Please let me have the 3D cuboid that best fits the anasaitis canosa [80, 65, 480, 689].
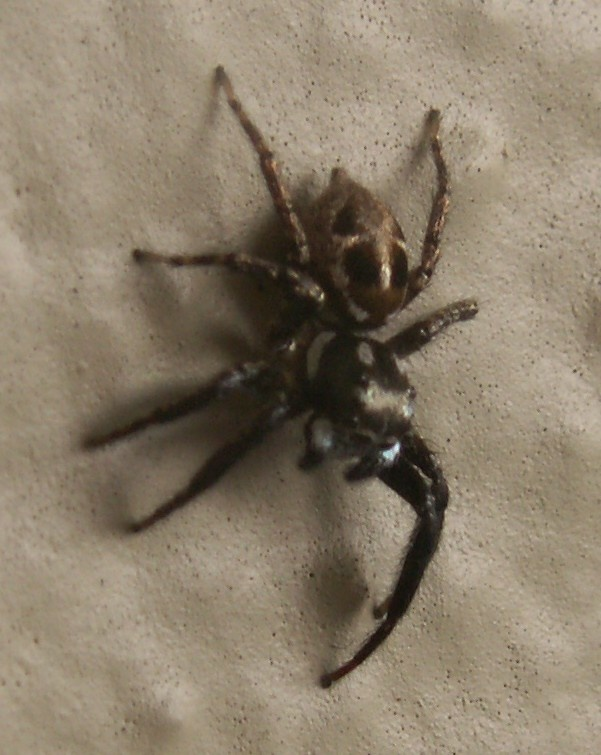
[{"bbox_3d":[0.053,-0.028,3.751,1.025,0.427,1.080,28,86,5],"label":"anasaitis canosa"}]
